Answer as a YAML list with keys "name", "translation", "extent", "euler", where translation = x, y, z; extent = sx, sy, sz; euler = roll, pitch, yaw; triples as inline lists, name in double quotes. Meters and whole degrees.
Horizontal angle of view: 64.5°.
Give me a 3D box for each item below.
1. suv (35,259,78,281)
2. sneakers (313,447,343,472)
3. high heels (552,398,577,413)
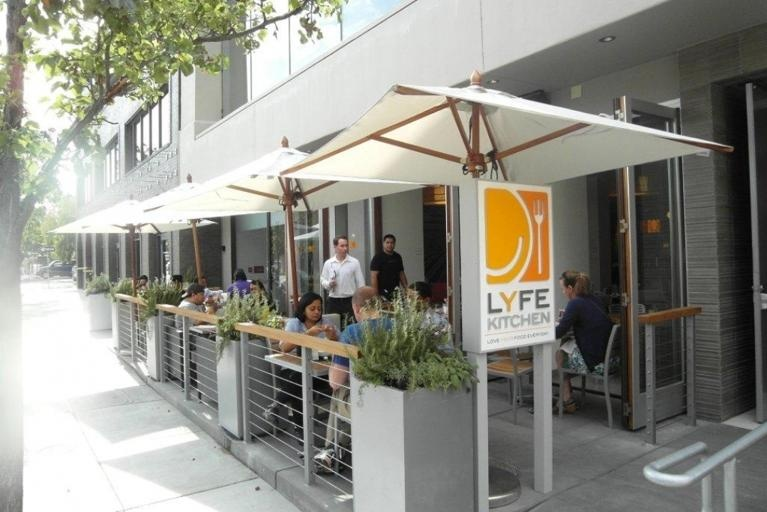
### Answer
- name: "suv"
  translation: [-32.576, 1.336, 60.729]
  extent: [4.100, 1.746, 2.051]
  euler: [4, 1, -2]
- name: "sneakers"
  translation: [-0.555, 2.125, 6.350]
  extent: [0.289, 0.243, 0.228]
  euler: [9, -4, 4]
- name: "high heels"
  translation: [2.365, 1.926, 7.869]
  extent: [0.317, 0.132, 0.174]
  euler: [1, 0, 1]
